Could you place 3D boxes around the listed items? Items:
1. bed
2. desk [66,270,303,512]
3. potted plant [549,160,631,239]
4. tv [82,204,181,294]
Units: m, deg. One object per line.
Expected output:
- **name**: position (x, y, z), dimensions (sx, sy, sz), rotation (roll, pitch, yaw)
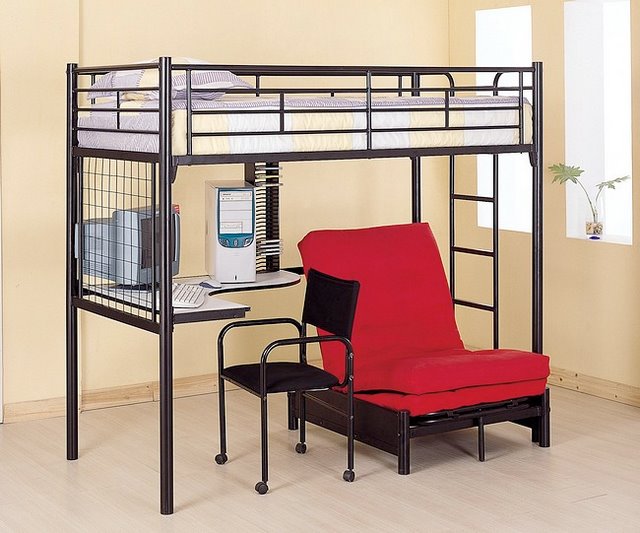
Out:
- **bed**: position (-0.072, -0.885, 3.873), dimensions (2.300, 0.719, 1.471), rotation (-4, 6, -35)
- **desk**: position (-0.956, 0.541, 3.417), dimensions (1.136, 0.945, 0.992), rotation (0, 2, -35)
- **potted plant**: position (1.850, -0.443, 4.795), dimensions (0.567, 0.464, 0.522), rotation (1, 4, 17)
- **tv**: position (-0.986, -0.115, 3.569), dimensions (0.518, 0.373, 0.448), rotation (5, 7, 36)
